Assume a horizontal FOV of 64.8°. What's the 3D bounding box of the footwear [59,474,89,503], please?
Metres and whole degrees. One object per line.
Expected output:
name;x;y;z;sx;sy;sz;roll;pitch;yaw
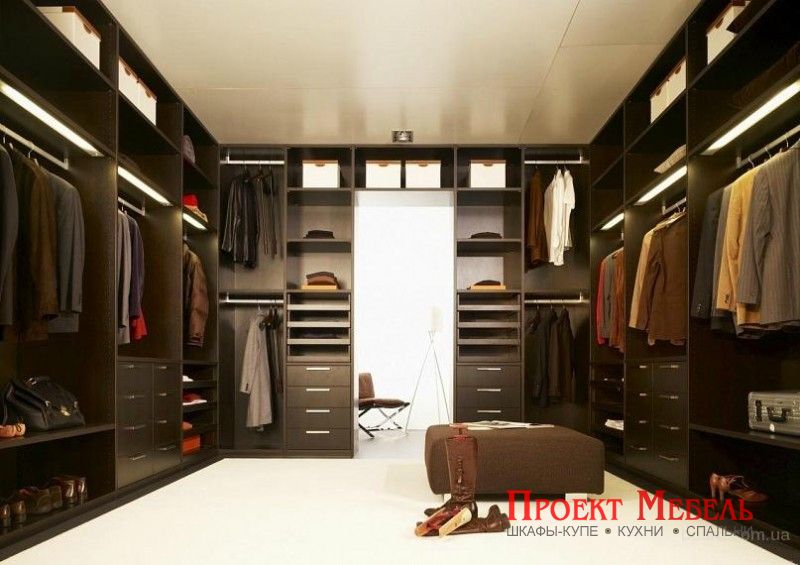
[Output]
footwear;-2.259;1.438;4.364;0.191;0.205;0.123;0;-6;-3

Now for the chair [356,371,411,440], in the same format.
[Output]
chair;-0.297;1.489;7.828;0.727;0.723;0.543;-3;-8;28

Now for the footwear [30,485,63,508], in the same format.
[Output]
footwear;-2.347;1.424;4.166;0.120;0.165;0.229;-3;-9;9
